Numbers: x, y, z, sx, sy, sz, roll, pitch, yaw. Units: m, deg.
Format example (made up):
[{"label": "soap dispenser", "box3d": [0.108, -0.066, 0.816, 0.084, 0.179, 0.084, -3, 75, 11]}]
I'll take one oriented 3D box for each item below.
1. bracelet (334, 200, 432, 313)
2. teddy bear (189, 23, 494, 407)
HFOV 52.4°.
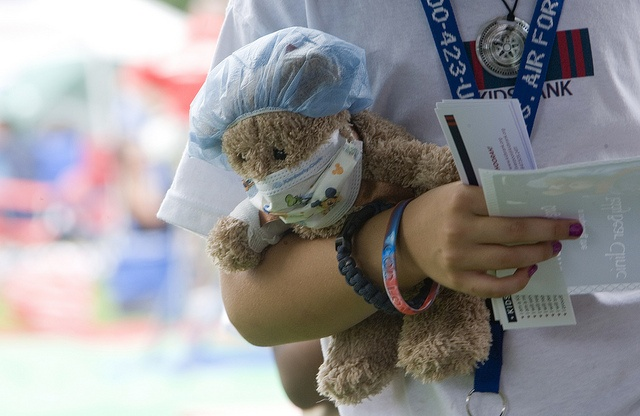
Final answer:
[{"label": "bracelet", "box3d": [0.129, 0.165, 2.136, 0.323, 0.317, 0.391, -14, 23, -24]}, {"label": "teddy bear", "box3d": [0.108, -0.009, 2.137, 0.850, 1.189, 0.658, -33, 6, 28]}]
